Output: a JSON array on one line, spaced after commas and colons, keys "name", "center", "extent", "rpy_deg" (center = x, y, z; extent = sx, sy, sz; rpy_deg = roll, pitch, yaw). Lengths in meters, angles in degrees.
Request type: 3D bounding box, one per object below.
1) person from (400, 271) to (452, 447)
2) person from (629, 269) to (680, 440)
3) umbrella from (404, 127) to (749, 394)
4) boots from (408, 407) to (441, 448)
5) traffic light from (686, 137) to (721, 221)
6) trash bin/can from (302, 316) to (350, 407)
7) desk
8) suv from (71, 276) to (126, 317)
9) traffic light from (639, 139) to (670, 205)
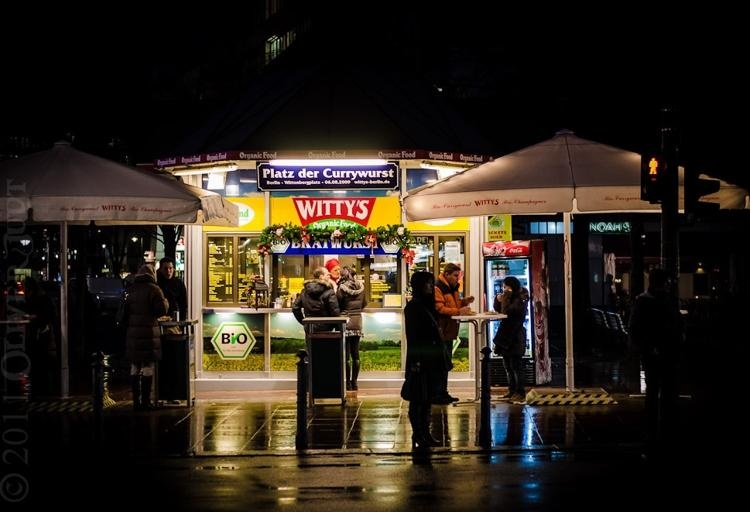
[{"name": "person", "center": [0.791, 1.684, 13.737], "extent": [0.698, 2.879, 0.347], "rpy_deg": [1, -6, -5]}, {"name": "person", "center": [4.610, 1.583, 13.897], "extent": [0.835, 2.748, 0.839], "rpy_deg": [6, -9, -43]}, {"name": "umbrella", "center": [3.841, -0.169, 16.346], "extent": [5.086, 3.385, 4.971], "rpy_deg": [2, -3, -36]}, {"name": "boots", "center": [0.793, 2.756, 13.643], "extent": [0.502, 0.711, 0.345], "rpy_deg": [1, -6, -9]}, {"name": "traffic light", "center": [5.851, -1.204, 15.291], "extent": [0.577, 1.171, 0.994], "rpy_deg": [-2, -7, 21]}, {"name": "trash bin/can", "center": [-0.957, 2.056, 16.452], "extent": [0.792, 1.681, 0.445], "rpy_deg": [1, -6, -7]}, {"name": "desk", "center": [2.003, 1.862, 16.494], "extent": [1.160, 1.417, 1.141], "rpy_deg": [-1, -2, 2]}, {"name": "suv", "center": [-9.730, 1.294, 30.652], "extent": [1.546, 1.172, 2.414], "rpy_deg": [2, -20, -12]}, {"name": "traffic light", "center": [4.817, -1.375, 14.756], "extent": [0.424, 0.933, 0.198], "rpy_deg": [-1, -7, 16]}]
